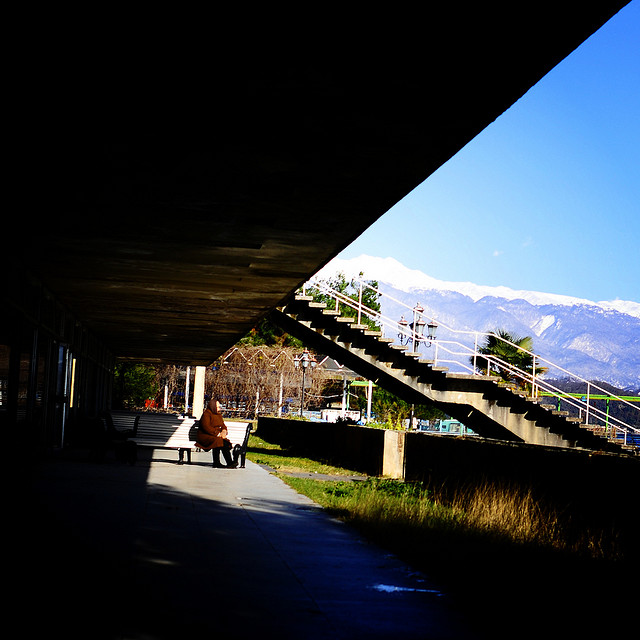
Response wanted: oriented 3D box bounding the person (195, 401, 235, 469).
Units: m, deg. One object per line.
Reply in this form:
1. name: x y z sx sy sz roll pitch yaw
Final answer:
1. person: -2.472 2.678 13.970 0.636 1.527 1.209 4 -8 15

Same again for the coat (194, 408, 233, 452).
1. coat: -2.463 2.522 13.856 0.883 1.007 0.844 9 1 5
